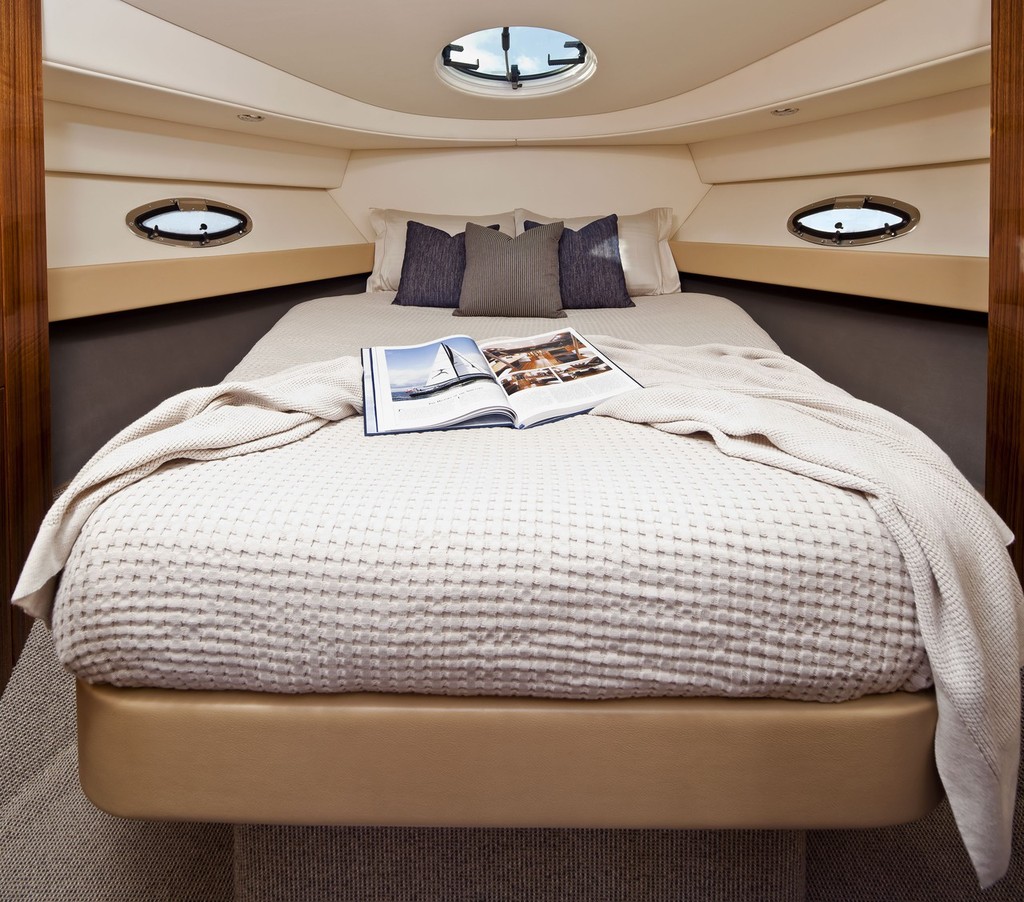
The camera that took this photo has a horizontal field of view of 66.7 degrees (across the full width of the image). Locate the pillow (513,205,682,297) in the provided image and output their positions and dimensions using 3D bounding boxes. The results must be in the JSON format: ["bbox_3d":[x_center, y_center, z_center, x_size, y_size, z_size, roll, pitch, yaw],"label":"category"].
[{"bbox_3d":[0.326,-0.949,3.376,0.588,0.164,0.397,-16,4,-33],"label":"pillow"}]

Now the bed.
[{"bbox_3d":[0.002,0.189,1.229,1.359,0.533,0.524,-1,12,2],"label":"bed"}]
